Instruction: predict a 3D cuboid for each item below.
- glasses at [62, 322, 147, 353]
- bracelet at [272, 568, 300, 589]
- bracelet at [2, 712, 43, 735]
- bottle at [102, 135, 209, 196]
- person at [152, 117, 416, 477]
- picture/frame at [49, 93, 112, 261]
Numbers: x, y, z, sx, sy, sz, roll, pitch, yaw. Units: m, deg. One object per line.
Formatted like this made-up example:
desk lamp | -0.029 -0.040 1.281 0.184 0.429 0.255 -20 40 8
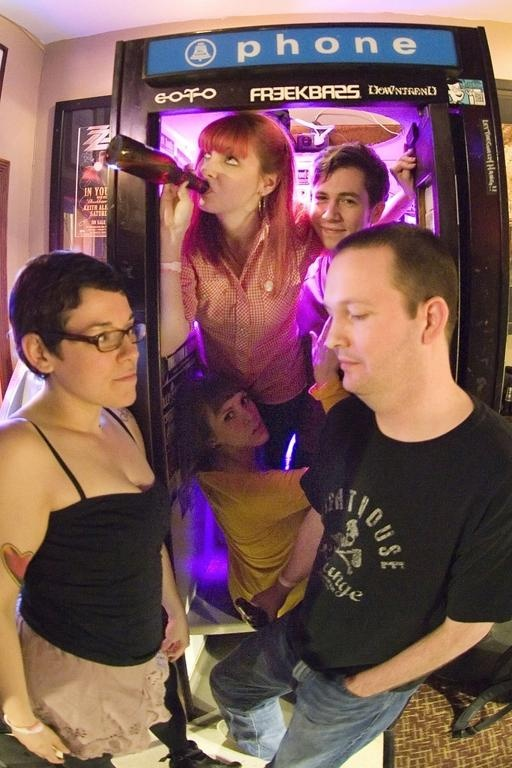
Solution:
glasses | -0.344 -0.108 1.369 0.093 0.025 0.090 7 21 21
bracelet | 0.088 0.543 1.794 0.063 0.039 0.064 23 3 40
bracelet | -0.493 0.719 1.338 0.075 0.026 0.056 12 -8 29
bottle | -0.231 -0.518 1.513 0.083 0.075 0.282 3 4 31
person | 0.041 -0.043 1.796 0.675 1.239 0.458 -8 27 -21
picture/frame | -0.834 -0.981 3.010 0.336 0.754 0.082 2 3 14
